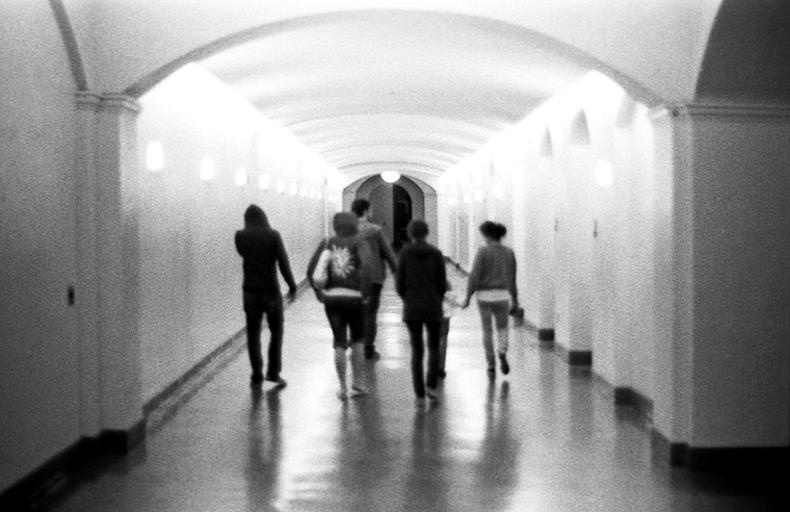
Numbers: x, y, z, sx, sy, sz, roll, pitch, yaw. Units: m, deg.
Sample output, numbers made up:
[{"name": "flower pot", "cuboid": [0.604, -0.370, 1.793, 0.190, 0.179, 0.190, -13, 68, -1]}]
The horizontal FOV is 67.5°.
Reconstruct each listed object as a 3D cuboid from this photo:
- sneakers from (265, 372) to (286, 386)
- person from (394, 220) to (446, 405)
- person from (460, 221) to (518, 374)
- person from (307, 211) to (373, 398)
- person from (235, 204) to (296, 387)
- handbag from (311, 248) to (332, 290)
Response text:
[{"name": "sneakers", "cuboid": [-1.485, 1.592, 7.594, 0.295, 0.132, 0.230, 10, -29, -25]}, {"name": "person", "cuboid": [0.321, 0.638, 6.860, 0.572, 2.131, 0.833, 0, 5, 3]}, {"name": "person", "cuboid": [1.296, 0.611, 7.754, 0.636, 2.118, 0.698, 3, 6, 35]}, {"name": "person", "cuboid": [-0.641, 0.612, 6.859, 0.670, 2.240, 1.374, 0, 5, -6]}, {"name": "person", "cuboid": [-1.590, 0.528, 7.258, 0.682, 2.313, 0.826, -1, 5, -15]}, {"name": "handbag", "cuboid": [-0.794, 0.156, 6.632, 0.133, 0.380, 0.286, 11, -9, -10]}]
